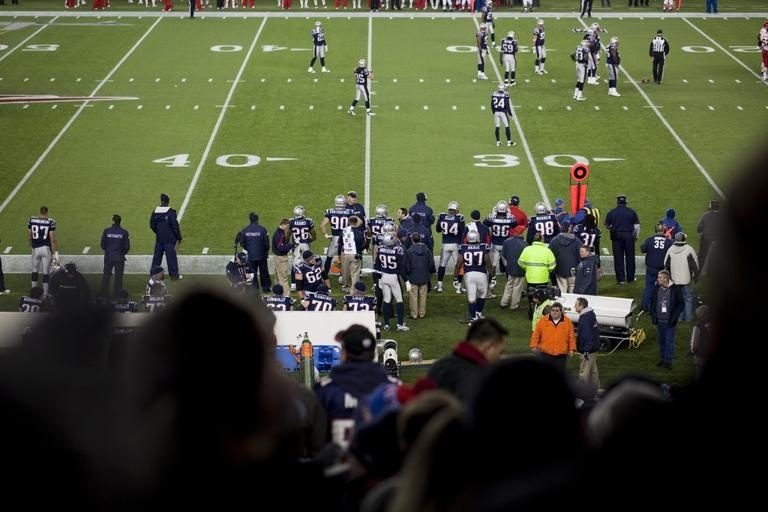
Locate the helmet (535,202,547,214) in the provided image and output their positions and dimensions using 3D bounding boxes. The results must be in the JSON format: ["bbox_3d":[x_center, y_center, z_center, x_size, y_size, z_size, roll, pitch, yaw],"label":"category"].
[{"bbox_3d":[2.574,-0.791,15.094,0.165,0.174,0.211,-2,3,2],"label":"helmet"}]

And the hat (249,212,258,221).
[{"bbox_3d":[-2.146,-0.654,15.020,0.127,0.135,0.159,1,22,1],"label":"hat"}]

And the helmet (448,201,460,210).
[{"bbox_3d":[1.158,-0.859,15.235,0.165,0.177,0.223,0,-10,5],"label":"helmet"}]

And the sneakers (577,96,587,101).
[{"bbox_3d":[5.671,-4.522,26.402,0.223,0.144,0.074,-8,48,-10],"label":"sneakers"}]

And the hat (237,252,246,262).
[{"bbox_3d":[-2.140,0.008,13.834,0.154,0.104,0.144,8,-24,-6],"label":"hat"}]

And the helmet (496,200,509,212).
[{"bbox_3d":[1.920,-0.818,14.974,0.189,0.091,0.260,0,9,5],"label":"helmet"}]

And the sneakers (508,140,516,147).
[{"bbox_3d":[3.222,-2.831,23.124,0.251,0.164,0.093,-13,40,-8],"label":"sneakers"}]

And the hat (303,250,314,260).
[{"bbox_3d":[-1.073,-0.034,12.963,0.137,0.105,0.137,-16,-11,42],"label":"hat"}]

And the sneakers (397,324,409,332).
[{"bbox_3d":[0.277,1.032,13.419,0.217,0.091,0.074,2,18,2],"label":"sneakers"}]

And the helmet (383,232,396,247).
[{"bbox_3d":[0.101,-0.267,13.650,0.155,0.179,0.181,3,-2,12],"label":"helmet"}]

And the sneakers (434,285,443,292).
[{"bbox_3d":[0.925,0.532,15.519,0.096,0.100,0.255,1,7,1],"label":"sneakers"}]

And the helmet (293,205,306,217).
[{"bbox_3d":[-1.486,-0.796,16.164,0.226,0.236,0.232,2,-13,4],"label":"helmet"}]

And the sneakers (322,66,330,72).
[{"bbox_3d":[-1.854,-5.893,29.072,0.317,0.145,0.289,-3,-10,-6],"label":"sneakers"}]

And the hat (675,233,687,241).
[{"bbox_3d":[4.167,-0.276,12.931,0.140,0.148,0.172,-2,5,-12],"label":"hat"}]

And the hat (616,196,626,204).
[{"bbox_3d":[4.026,-0.957,15.594,0.192,0.144,0.287,1,-2,11],"label":"hat"}]

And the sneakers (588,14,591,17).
[{"bbox_3d":[7.834,-9.167,35.055,0.109,0.157,0.095,-10,-38,16],"label":"sneakers"}]

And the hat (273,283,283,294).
[{"bbox_3d":[-1.340,0.400,11.651,0.129,0.114,0.170,1,39,-9],"label":"hat"}]

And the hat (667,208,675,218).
[{"bbox_3d":[4.713,-0.707,15.091,0.140,0.145,0.186,9,34,6],"label":"hat"}]

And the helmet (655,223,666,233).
[{"bbox_3d":[4.228,-0.452,14.048,0.129,0.147,0.160,4,41,10],"label":"helmet"}]

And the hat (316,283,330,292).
[{"bbox_3d":[-0.821,0.409,12.227,0.153,0.108,0.237,8,-3,6],"label":"hat"}]

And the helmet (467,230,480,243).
[{"bbox_3d":[1.333,-0.295,13.680,0.163,0.156,0.179,6,28,15],"label":"helmet"}]

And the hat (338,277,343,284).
[{"bbox_3d":[-0.746,0.403,15.900,0.068,0.071,0.178,0,4,-3],"label":"hat"}]

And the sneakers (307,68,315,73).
[{"bbox_3d":[-2.285,-5.877,29.032,0.265,0.165,0.104,-10,34,-18],"label":"sneakers"}]

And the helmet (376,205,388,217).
[{"bbox_3d":[-0.038,-0.762,15.456,0.189,0.208,0.248,-3,12,2],"label":"helmet"}]

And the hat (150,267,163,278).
[{"bbox_3d":[-3.080,0.202,12.531,0.139,0.126,0.177,-12,3,11],"label":"hat"}]

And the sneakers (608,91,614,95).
[{"bbox_3d":[6.631,-4.762,26.842,0.169,0.073,0.212,1,1,10],"label":"sneakers"}]

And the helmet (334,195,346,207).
[{"bbox_3d":[-0.739,-0.945,15.652,0.219,0.213,0.268,-1,8,-2],"label":"helmet"}]

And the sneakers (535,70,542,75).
[{"bbox_3d":[4.904,-5.798,29.077,0.264,0.096,0.170,1,-32,12],"label":"sneakers"}]

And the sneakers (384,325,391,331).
[{"bbox_3d":[0.050,1.046,13.568,0.076,0.057,0.134,-1,3,1],"label":"sneakers"}]

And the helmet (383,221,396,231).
[{"bbox_3d":[0.086,-0.480,14.484,0.148,0.169,0.170,1,-6,5],"label":"helmet"}]

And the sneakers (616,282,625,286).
[{"bbox_3d":[4.006,0.459,15.531,0.057,0.042,0.130,13,-4,-27],"label":"sneakers"}]

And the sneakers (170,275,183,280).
[{"bbox_3d":[-3.621,0.359,16.093,0.216,0.071,0.087,-8,-23,13],"label":"sneakers"}]
